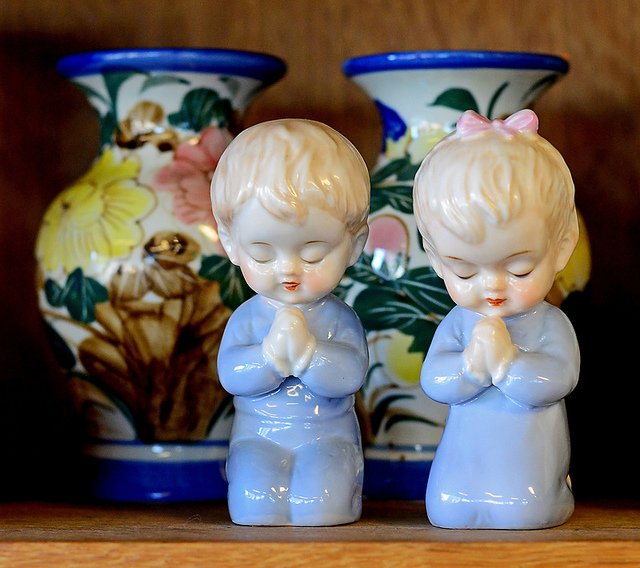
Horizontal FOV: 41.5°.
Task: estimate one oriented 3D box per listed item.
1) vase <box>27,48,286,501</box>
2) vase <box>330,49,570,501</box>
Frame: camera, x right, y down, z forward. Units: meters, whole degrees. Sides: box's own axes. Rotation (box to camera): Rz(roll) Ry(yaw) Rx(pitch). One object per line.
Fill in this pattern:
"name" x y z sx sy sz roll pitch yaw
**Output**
"vase" -0.175 -0.010 0.857 0.247 0.430 0.279 2 19 7
"vase" 0.111 -0.020 0.966 0.224 0.489 0.318 -1 4 10
